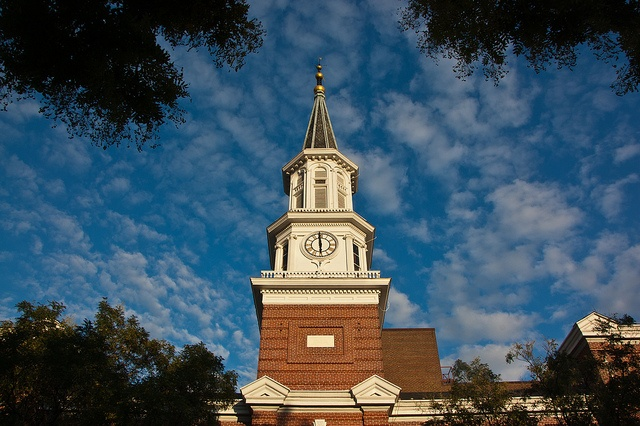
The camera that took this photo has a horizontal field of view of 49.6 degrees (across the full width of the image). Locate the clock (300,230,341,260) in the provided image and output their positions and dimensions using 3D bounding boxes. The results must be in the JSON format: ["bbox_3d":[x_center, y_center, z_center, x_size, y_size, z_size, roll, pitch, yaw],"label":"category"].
[{"bbox_3d":[0.031,2.039,43.395,2.027,2.110,0.180,12,-57,13],"label":"clock"}]
